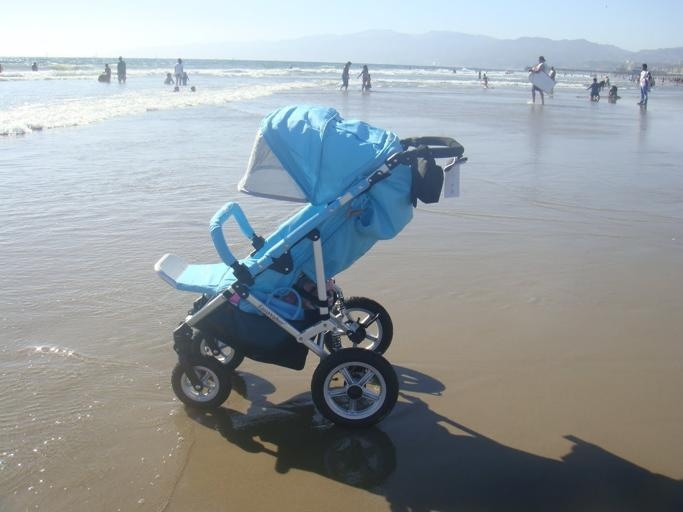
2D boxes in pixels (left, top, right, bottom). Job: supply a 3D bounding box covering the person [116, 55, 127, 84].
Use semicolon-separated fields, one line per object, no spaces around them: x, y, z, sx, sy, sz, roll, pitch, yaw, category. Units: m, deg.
-12.502;-10.573;32.186;0.390;1.379;1.717;-6;18;-16;person
